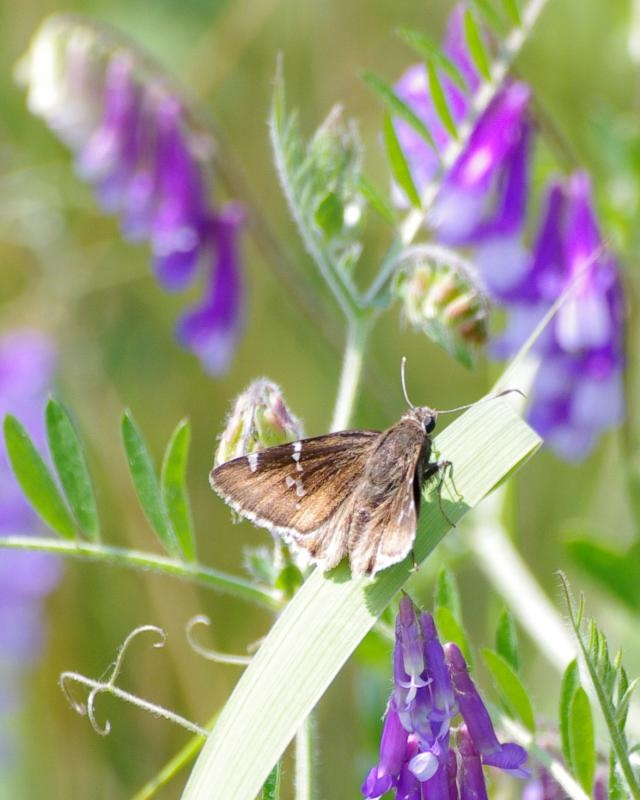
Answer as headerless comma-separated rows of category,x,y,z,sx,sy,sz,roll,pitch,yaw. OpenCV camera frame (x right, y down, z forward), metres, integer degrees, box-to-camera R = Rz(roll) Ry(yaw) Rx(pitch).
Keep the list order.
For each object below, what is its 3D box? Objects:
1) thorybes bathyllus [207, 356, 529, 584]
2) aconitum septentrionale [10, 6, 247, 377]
thorybes bathyllus,0.034,0.118,1.162,0.264,0.136,0.295,13,58,49
aconitum septentrionale,-0.350,-0.365,1.748,0.404,0.693,0.149,12,34,21
